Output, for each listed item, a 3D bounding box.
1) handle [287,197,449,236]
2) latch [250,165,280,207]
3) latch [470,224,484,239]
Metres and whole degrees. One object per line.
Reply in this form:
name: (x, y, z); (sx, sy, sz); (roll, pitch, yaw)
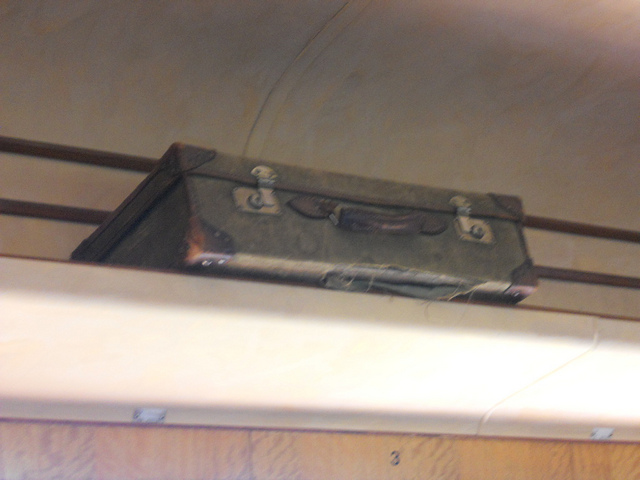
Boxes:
handle: (0.102, -0.047, 2.152); (0.342, 0.088, 0.019); (13, -49, -6)
latch: (-0.111, -0.116, 2.136); (0.062, 0.083, 0.019); (17, -31, -13)
latch: (0.338, -0.018, 2.191); (0.025, 0.025, 0.007); (12, -32, -16)
